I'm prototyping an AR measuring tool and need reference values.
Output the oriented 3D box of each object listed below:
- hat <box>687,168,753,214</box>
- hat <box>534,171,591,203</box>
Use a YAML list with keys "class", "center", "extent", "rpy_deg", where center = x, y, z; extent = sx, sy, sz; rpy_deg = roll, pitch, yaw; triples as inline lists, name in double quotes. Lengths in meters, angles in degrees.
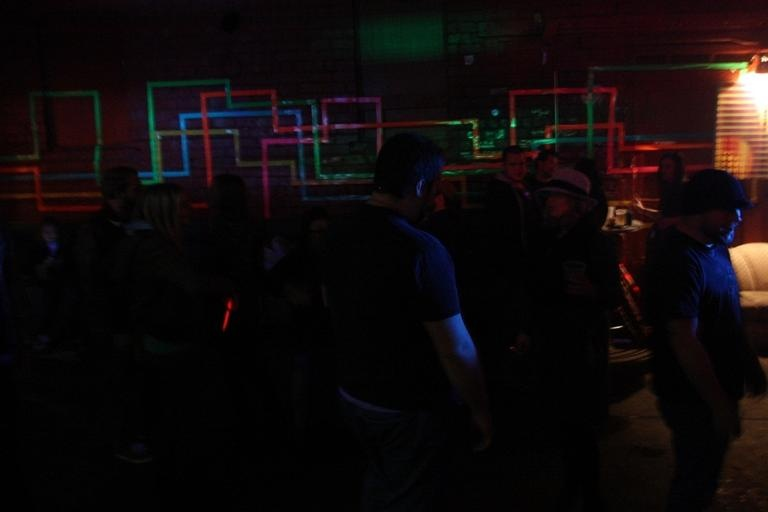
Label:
- class: "hat"
  center: [2.633, -0.520, 4.968]
  extent: [0.505, 0.211, 0.338]
  rpy_deg: [-4, 10, 7]
- class: "hat"
  center: [1.679, -0.696, 5.970]
  extent: [0.392, 0.151, 0.456]
  rpy_deg: [-3, 10, -43]
